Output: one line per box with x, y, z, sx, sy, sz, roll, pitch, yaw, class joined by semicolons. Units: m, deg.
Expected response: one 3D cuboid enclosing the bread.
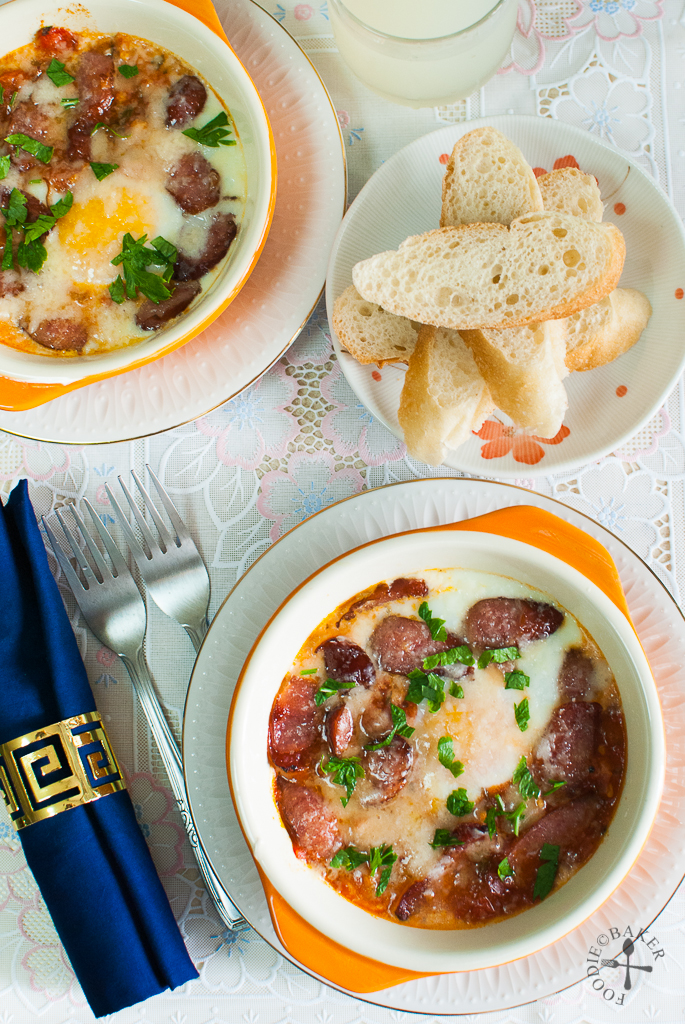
0.184;-0.251;1.004;0.359;0.269;0.313;-31;68;-1;bread

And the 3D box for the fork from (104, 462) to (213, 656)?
-0.249;0.061;1.208;0.078;0.052;0.367;-26;82;-4;fork

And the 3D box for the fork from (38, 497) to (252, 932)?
-0.261;0.289;1.112;0.083;0.068;0.630;-22;96;-16;fork

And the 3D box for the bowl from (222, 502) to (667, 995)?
0.125;0.271;0.983;0.514;0.234;0.475;-3;70;9;bowl
